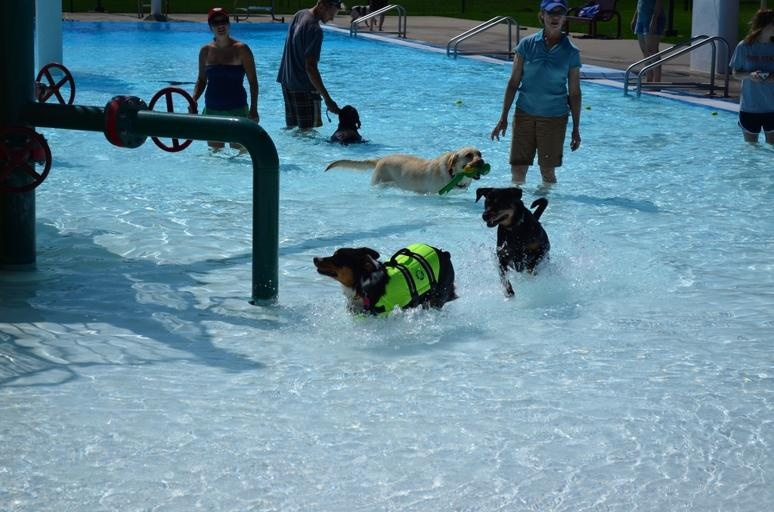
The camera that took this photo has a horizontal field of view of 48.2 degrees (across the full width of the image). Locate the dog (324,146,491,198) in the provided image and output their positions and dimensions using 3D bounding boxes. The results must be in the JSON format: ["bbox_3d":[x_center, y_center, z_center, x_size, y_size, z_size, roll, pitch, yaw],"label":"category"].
[{"bbox_3d":[0.294,-0.968,9.876,1.717,0.551,0.416,11,18,38],"label":"dog"}]

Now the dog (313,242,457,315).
[{"bbox_3d":[-0.033,0.181,6.851,0.517,0.430,1.369,10,12,41],"label":"dog"}]

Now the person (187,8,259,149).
[{"bbox_3d":[-2.026,-2.373,10.883,0.860,1.373,0.665,3,17,2],"label":"person"}]

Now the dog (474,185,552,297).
[{"bbox_3d":[1.110,-0.139,7.505,0.615,0.903,0.633,2,16,-1],"label":"dog"}]
